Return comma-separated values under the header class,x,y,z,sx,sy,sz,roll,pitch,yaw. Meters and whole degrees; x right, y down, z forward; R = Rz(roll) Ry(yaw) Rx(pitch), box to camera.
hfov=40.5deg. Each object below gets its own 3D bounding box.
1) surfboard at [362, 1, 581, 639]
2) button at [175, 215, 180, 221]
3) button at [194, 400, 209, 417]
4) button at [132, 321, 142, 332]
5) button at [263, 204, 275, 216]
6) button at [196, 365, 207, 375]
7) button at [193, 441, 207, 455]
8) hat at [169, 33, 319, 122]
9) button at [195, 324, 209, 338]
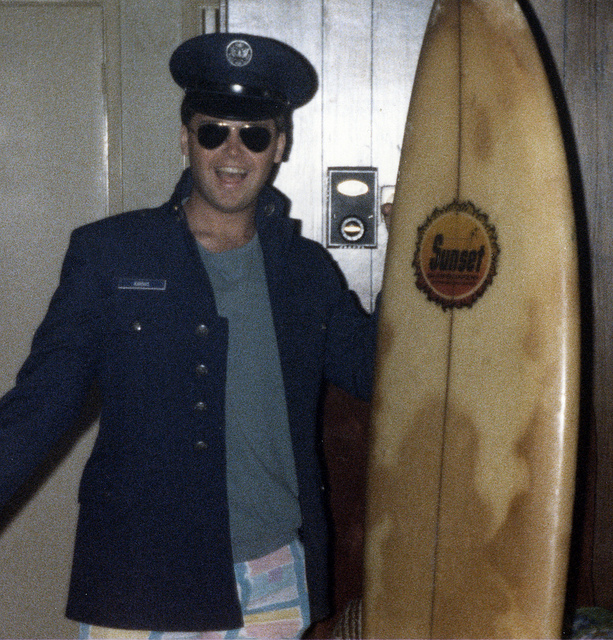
class,x,y,z,sx,sy,sz,roll,pitch,yaw
surfboard,0.317,0.048,1.633,0.369,1.225,0.710,2,26,4
button,-0.254,-0.202,1.648,0.010,0.009,0.002,1,1,40
button,-0.207,0.167,1.584,0.028,0.027,0.006,-11,6,-2
button,-0.323,0.012,1.590,0.013,0.017,0.015,-22,33,-38
button,-0.076,-0.227,1.714,0.019,0.024,0.006,8,8,-5
button,-0.200,0.095,1.590,0.017,0.016,0.004,-4,-8,-1
button,-0.202,0.241,1.581,0.025,0.023,0.008,0,2,1
hat,-0.130,-0.490,1.786,0.352,0.136,0.327,6,6,-1
button,-0.201,0.020,1.601,0.025,0.024,0.015,-7,-4,4
